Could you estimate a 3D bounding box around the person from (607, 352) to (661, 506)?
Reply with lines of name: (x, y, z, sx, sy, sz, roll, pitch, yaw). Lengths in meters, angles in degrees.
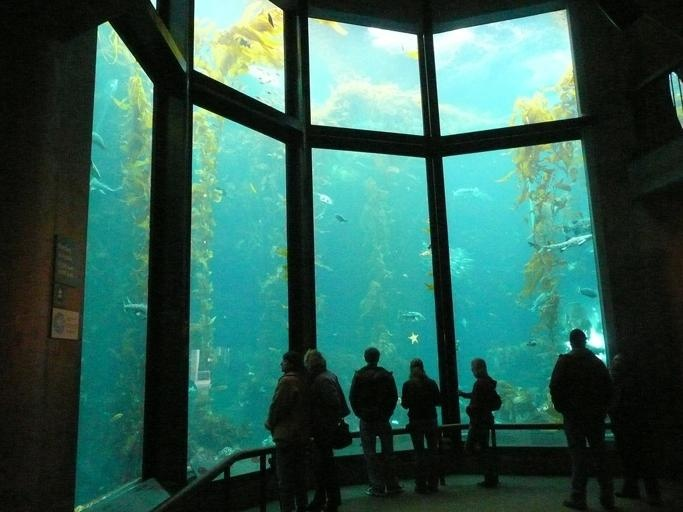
person: (2.082, 1.249, 4.486, 0.153, 1.049, 0.450, -2, -12, -16)

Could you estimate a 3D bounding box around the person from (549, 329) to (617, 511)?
person: (1.901, 1.267, 4.874, 0.491, 1.367, 0.409, -9, -12, 16)

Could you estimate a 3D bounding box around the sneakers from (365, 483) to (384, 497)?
sneakers: (0.283, 2.071, 5.450, 0.172, 0.071, 0.070, -2, -8, 38)

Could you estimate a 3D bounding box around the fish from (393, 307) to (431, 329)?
fish: (0.705, 0.643, 6.321, 0.432, 0.215, 0.132, 5, -19, 0)

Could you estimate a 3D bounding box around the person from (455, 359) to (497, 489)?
person: (1.262, 1.495, 5.594, 0.300, 1.096, 0.278, 5, -16, -42)

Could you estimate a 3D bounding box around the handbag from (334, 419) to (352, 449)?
handbag: (0.000, 1.454, 4.987, 0.149, 0.213, 0.225, 0, -16, 0)

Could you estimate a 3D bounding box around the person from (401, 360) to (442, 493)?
person: (0.740, 1.525, 5.597, 0.355, 1.155, 0.206, -7, -12, 3)

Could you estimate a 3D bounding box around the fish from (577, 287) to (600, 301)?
fish: (2.049, 0.315, 5.098, 0.087, 0.102, 0.224, -31, 9, 3)

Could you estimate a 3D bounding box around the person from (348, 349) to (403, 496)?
person: (0.301, 1.526, 5.458, 0.423, 1.156, 0.236, -6, -12, -2)
